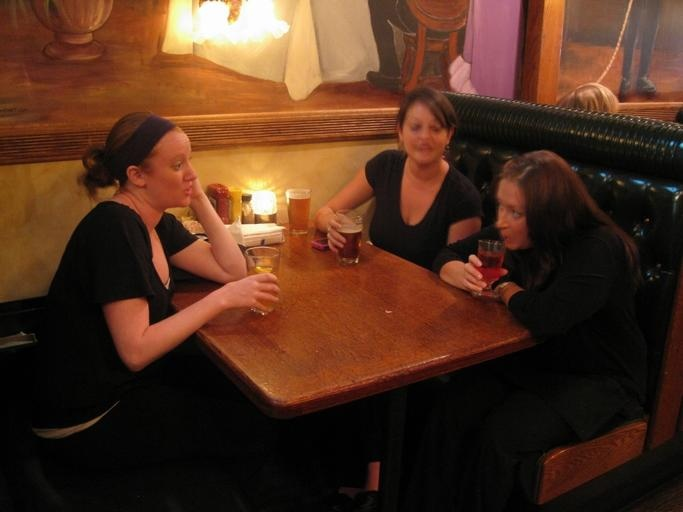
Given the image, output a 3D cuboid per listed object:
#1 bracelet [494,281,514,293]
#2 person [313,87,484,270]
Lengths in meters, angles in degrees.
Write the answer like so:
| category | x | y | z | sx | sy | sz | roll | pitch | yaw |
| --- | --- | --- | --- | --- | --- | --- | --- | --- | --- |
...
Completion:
| category | x | y | z | sx | sy | sz | roll | pitch | yaw |
| --- | --- | --- | --- | --- | --- | --- | --- | --- | --- |
| bracelet | 0.623 | 0.122 | 2.047 | 0.046 | 0.036 | 0.049 | -16 | 40 | 48 |
| person | 0.297 | -0.408 | 2.757 | 0.653 | 1.020 | 0.583 | 27 | 32 | 36 |
